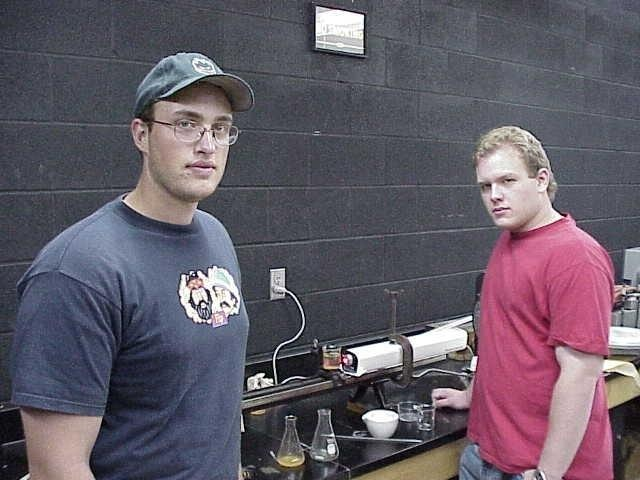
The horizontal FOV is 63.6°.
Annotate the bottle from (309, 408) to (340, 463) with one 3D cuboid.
[{"bbox_3d":[0.017,0.722,1.880,0.139,0.210,0.109,1,-10,-6],"label":"bottle"}]

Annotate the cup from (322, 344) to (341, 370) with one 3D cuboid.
[{"bbox_3d":[0.050,0.500,2.168,0.073,0.095,0.095,1,-6,-4],"label":"cup"}]

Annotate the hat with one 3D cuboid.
[{"bbox_3d":[-0.301,-0.316,1.227,0.232,0.125,0.175,-15,-1,17],"label":"hat"}]

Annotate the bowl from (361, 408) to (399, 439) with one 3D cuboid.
[{"bbox_3d":[0.239,0.719,2.013,0.135,0.087,0.164,-6,-7,8],"label":"bowl"}]

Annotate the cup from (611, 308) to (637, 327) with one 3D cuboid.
[{"bbox_3d":[1.877,0.478,3.204,0.111,0.162,0.137,4,-5,-11],"label":"cup"}]

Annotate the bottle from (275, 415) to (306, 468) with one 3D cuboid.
[{"bbox_3d":[-0.106,0.732,1.847,0.135,0.204,0.109,2,-10,-9],"label":"bottle"}]

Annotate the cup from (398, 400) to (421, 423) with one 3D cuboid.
[{"bbox_3d":[0.361,0.701,2.096,0.060,0.058,0.083,-3,-7,34],"label":"cup"}]

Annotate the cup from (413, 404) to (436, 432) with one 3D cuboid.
[{"bbox_3d":[0.418,0.709,2.049,0.068,0.089,0.086,0,-7,0],"label":"cup"}]

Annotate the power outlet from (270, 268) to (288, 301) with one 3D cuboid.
[{"bbox_3d":[-0.199,0.210,2.461,0.094,0.149,0.033,0,-7,-32],"label":"power outlet"}]
